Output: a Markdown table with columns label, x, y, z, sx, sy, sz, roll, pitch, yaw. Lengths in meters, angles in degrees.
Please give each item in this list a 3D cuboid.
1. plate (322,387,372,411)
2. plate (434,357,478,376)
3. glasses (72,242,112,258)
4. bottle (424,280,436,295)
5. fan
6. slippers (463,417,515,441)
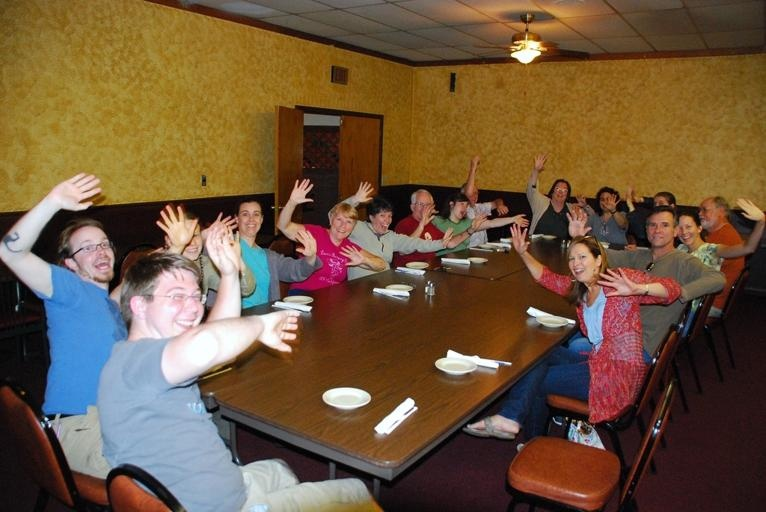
| label | x | y | z | sx | sy | sz | roll | pitch | yaw |
| --- | --- | --- | --- | --- | --- | --- | --- | --- | --- |
| plate | -0.199 | 0.787 | 2.873 | 0.266 | 0.058 | 0.172 | 2 | 14 | 7 |
| plate | 0.448 | 0.677 | 3.201 | 0.229 | 0.053 | 0.197 | 7 | 15 | 24 |
| glasses | -1.807 | -0.049 | 3.290 | 0.122 | 0.084 | 0.253 | 9 | 16 | 31 |
| bottle | 0.397 | 0.276 | 4.460 | 0.108 | 0.161 | 0.103 | -1 | 8 | 0 |
| fan | 1.891 | -2.723 | 6.495 | 1.358 | 0.473 | 1.172 | -12 | 15 | -30 |
| slippers | 0.726 | 1.170 | 3.591 | 0.403 | 0.143 | 0.144 | 4 | 12 | 16 |
